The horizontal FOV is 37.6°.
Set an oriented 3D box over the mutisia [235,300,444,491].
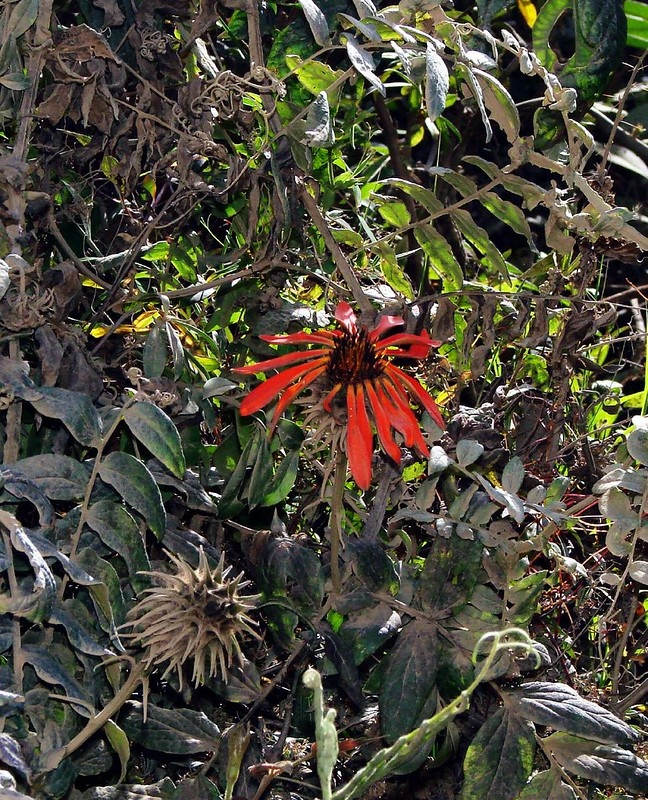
[{"bbox_3d":[0.033,-0.027,1.013,0.197,0.096,0.171,7,45,-3],"label":"mutisia"}]
